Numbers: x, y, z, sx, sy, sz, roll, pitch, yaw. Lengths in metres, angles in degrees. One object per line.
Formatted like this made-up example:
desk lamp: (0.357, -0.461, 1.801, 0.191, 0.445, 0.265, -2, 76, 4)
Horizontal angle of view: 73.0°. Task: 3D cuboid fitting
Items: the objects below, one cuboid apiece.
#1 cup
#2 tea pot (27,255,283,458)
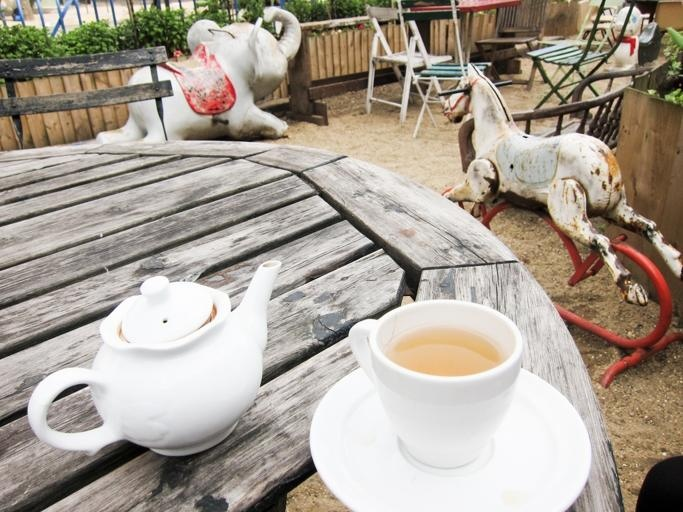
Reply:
cup: (0.140, 0.176, 0.651, 0.180, 0.188, 0.150, -15, 30, -20)
tea pot: (-0.265, 0.166, 0.733, 0.386, 0.266, 0.256, -21, 27, -37)
